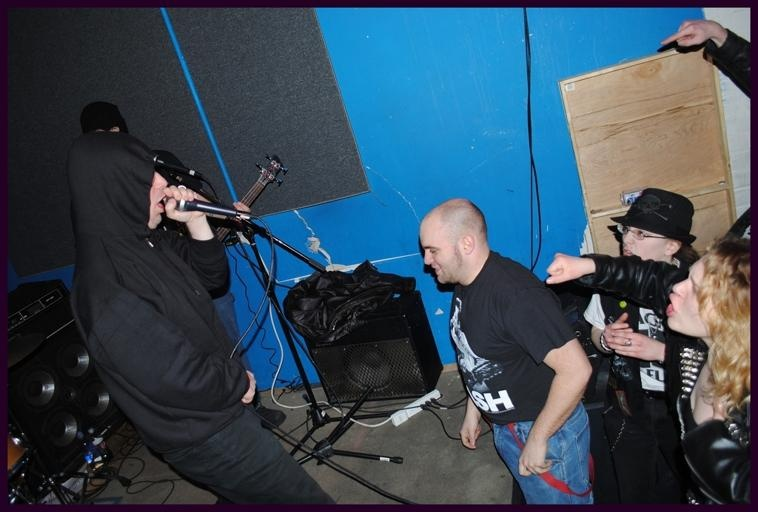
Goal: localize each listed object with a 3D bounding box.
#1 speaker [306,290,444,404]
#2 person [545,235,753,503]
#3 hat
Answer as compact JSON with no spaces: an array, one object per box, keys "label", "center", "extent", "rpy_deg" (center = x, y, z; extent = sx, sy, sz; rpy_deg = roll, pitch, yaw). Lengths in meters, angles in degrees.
[{"label":"speaker","center":[-0.040,0.698,4.215],"extent":[0.752,0.611,0.423],"rpy_deg":[-17,12,24]},{"label":"person","center":[1.448,0.653,2.935],"extent":[0.974,1.463,0.783],"rpy_deg":[-17,30,23]},{"label":"hat","center":[1.723,-0.252,3.430],"extent":[0.452,0.223,0.350],"rpy_deg":[22,2,1]}]
